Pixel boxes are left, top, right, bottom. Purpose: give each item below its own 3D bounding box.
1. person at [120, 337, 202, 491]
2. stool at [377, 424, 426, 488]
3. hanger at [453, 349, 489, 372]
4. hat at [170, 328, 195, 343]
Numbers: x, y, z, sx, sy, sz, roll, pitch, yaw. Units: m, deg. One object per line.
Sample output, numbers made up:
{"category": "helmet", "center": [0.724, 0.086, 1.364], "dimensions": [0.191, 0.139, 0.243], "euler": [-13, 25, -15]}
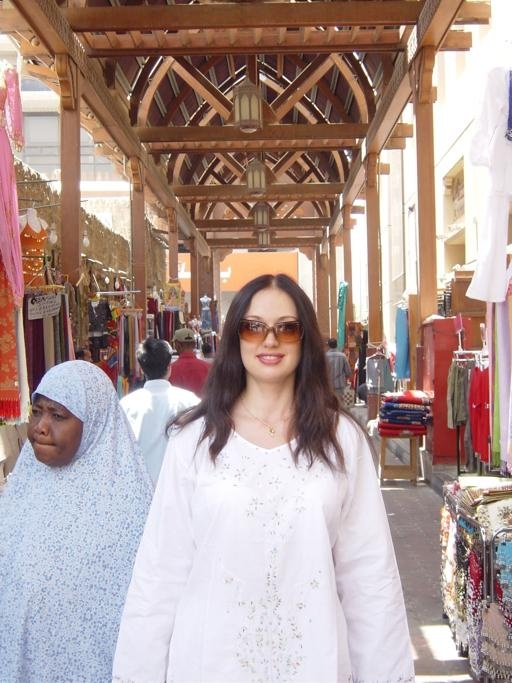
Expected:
{"category": "person", "center": [-0.552, 0.412, 2.879], "dimensions": [0.317, 1.034, 0.361], "euler": [-3, 39, -16]}
{"category": "stool", "center": [1.844, 1.429, 6.847], "dimensions": [0.522, 0.784, 0.606], "euler": [-5, 9, -11]}
{"category": "hanger", "center": [2.176, 0.198, 5.310], "dimensions": [0.265, 0.170, 0.464], "euler": [0, -13, 1]}
{"category": "hat", "center": [-0.907, -0.059, 6.344], "dimensions": [0.274, 0.266, 0.435], "euler": [2, -2, -2]}
